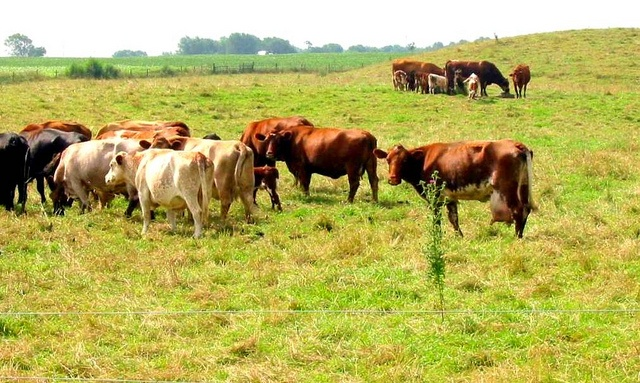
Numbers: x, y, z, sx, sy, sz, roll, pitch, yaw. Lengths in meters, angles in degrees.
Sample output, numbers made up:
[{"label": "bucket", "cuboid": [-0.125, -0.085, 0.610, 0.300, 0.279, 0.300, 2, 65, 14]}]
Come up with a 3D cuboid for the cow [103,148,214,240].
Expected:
[{"label": "cow", "cuboid": [-4.218, -0.020, 20.019, 3.103, 2.072, 1.381, 5, 13, 35]}]

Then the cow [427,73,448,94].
[{"label": "cow", "cuboid": [6.225, -5.861, 41.824, 0.804, 1.025, 1.612, 5, 13, 33]}]

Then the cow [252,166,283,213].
[{"label": "cow", "cuboid": [-1.398, -0.098, 21.510, 1.001, 1.139, 0.480, 5, 14, 36]}]

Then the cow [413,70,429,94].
[{"label": "cow", "cuboid": [5.558, -5.969, 42.347, 0.759, 1.048, 1.305, -1, 11, 8]}]
